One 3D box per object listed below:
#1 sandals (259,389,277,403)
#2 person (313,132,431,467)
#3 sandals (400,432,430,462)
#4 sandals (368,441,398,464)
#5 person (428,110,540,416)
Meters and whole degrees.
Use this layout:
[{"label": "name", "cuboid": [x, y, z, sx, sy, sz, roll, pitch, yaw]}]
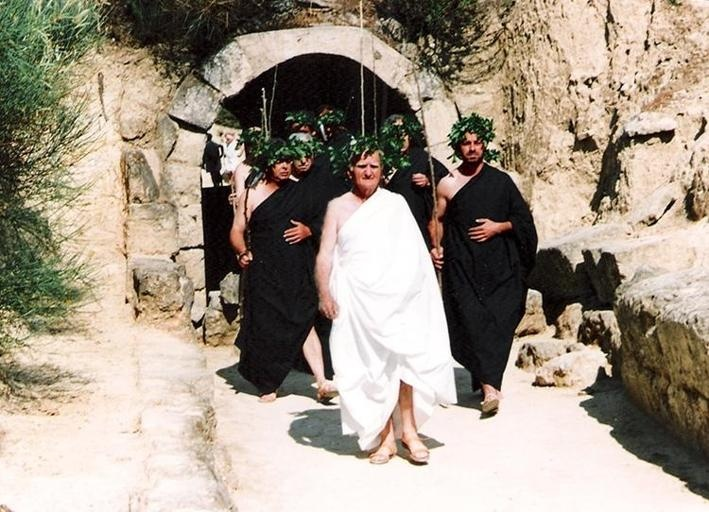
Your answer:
[{"label": "sandals", "cuboid": [-0.717, 1.159, 6.894, 0.140, 0.081, 0.105, -1, 12, -15]}, {"label": "person", "cuboid": [0.164, 0.338, 5.430, 0.812, 2.022, 0.463, 11, 15, 36]}, {"label": "sandals", "cuboid": [0.388, 1.236, 5.415, 0.122, 0.106, 0.257, -3, 5, -21]}, {"label": "sandals", "cuboid": [0.173, 1.278, 5.402, 0.096, 0.070, 0.188, -3, -2, 32]}, {"label": "person", "cuboid": [0.941, 0.030, 6.554, 0.844, 2.272, 0.841, 5, 12, 17]}]
